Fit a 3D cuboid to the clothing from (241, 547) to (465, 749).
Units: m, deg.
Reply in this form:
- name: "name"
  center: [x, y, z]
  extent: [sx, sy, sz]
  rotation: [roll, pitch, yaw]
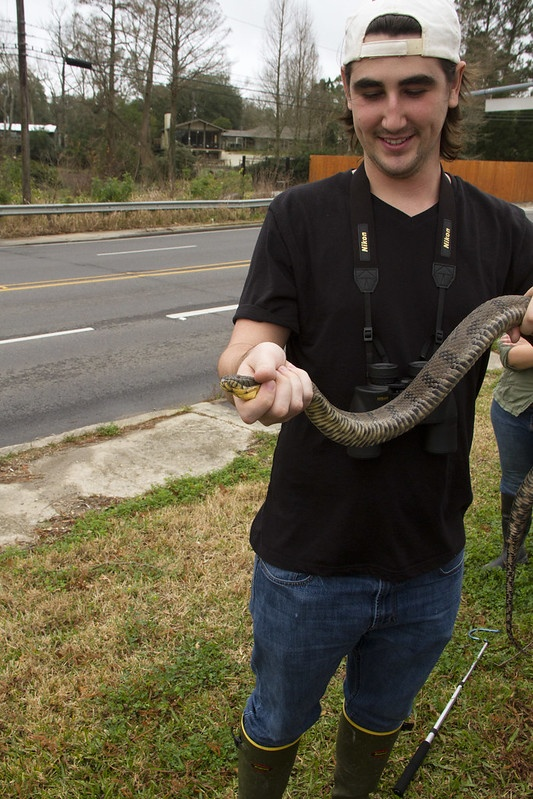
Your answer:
- name: "clothing"
  center: [0.237, 0.745, 1.901]
  extent: [0.579, 0.970, 0.340]
  rotation: [1, 16, -9]

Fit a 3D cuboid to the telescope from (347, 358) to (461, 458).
- name: "telescope"
  center: [0.351, 0.013, 1.619]
  extent: [0.279, 0.265, 0.103]
  rotation: [0, 11, -22]
